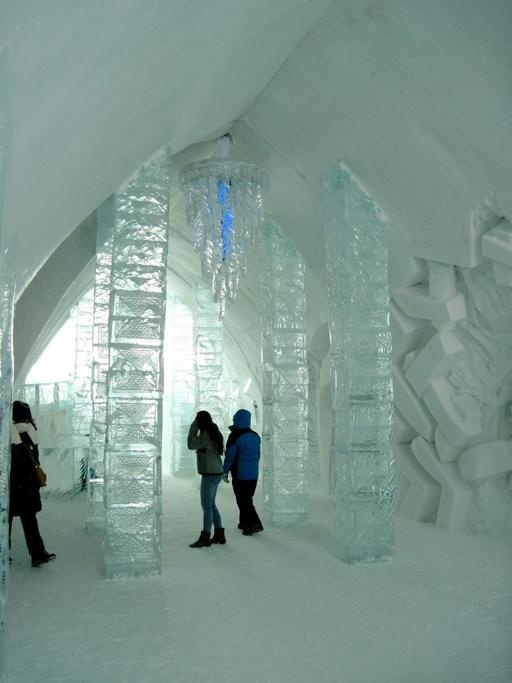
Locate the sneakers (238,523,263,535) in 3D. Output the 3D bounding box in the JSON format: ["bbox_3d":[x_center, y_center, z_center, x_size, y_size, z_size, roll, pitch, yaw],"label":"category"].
[{"bbox_3d":[-0.089,1.939,7.019,0.097,0.108,0.277,-3,-2,-36],"label":"sneakers"}]

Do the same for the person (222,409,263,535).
[{"bbox_3d":[-0.127,1.331,6.883,0.361,1.273,0.785,0,-6,2],"label":"person"}]

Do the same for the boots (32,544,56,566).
[{"bbox_3d":[-1.826,1.801,5.757,0.093,0.160,0.244,8,15,22],"label":"boots"}]

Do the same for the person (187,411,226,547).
[{"bbox_3d":[-0.457,1.294,6.409,0.349,1.262,0.657,0,-6,-3],"label":"person"}]
